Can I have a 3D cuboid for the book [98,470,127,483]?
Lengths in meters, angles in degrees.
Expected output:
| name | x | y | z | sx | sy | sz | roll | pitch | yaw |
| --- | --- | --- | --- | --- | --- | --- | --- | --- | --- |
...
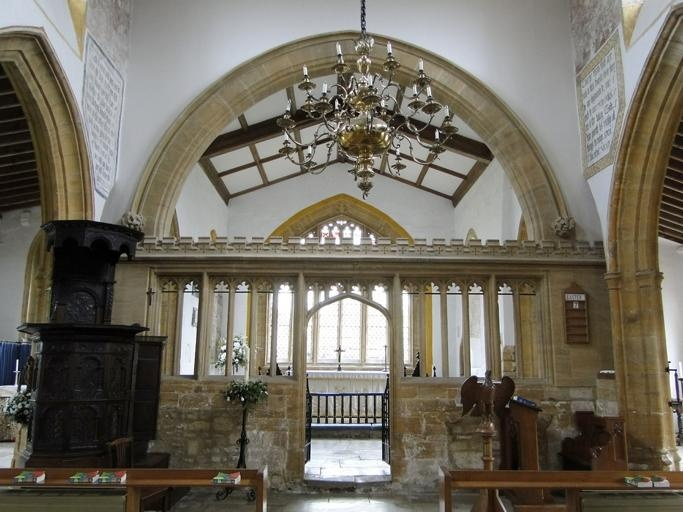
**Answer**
| name | x | y | z | sx | sy | sz | roll | pitch | yaw |
| --- | --- | --- | --- | --- | --- | --- | --- | --- | --- |
| book | -1.810 | 1.748 | 4.229 | 0.213 | 0.080 | 0.189 | 4 | -14 | -13 |
